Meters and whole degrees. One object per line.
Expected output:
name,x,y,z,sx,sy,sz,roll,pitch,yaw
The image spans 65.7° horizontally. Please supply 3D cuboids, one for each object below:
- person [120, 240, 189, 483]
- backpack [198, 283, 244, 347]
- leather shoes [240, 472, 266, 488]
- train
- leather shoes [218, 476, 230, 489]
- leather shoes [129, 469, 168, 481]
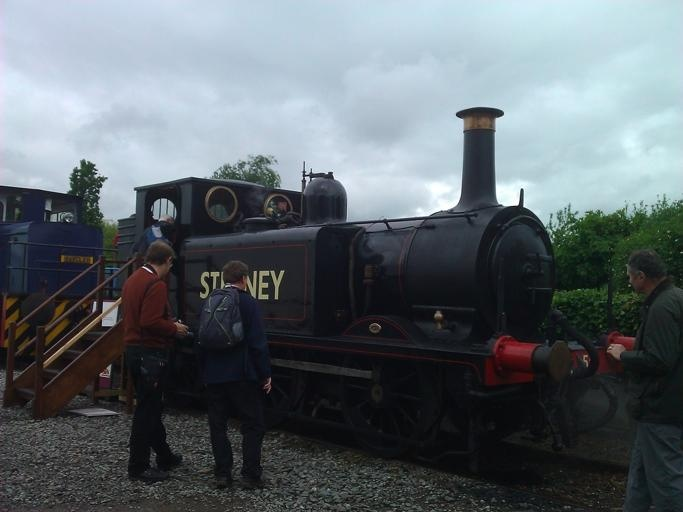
person,-1.923,1.002,5.343,0.652,2.345,0.418,3,-3,-18
backpack,-1.168,0.568,5.068,0.398,0.566,0.306,-2,-5,27
leather shoes,-0.833,2.087,4.983,0.279,0.143,0.100,3,-3,-36
train,-0.787,0.691,7.732,7.837,3.433,4.689,-2,-1,45
leather shoes,-1.109,2.106,4.961,0.139,0.118,0.073,3,-3,-15
leather shoes,-1.900,2.124,5.148,0.298,0.126,0.141,-1,-8,0
